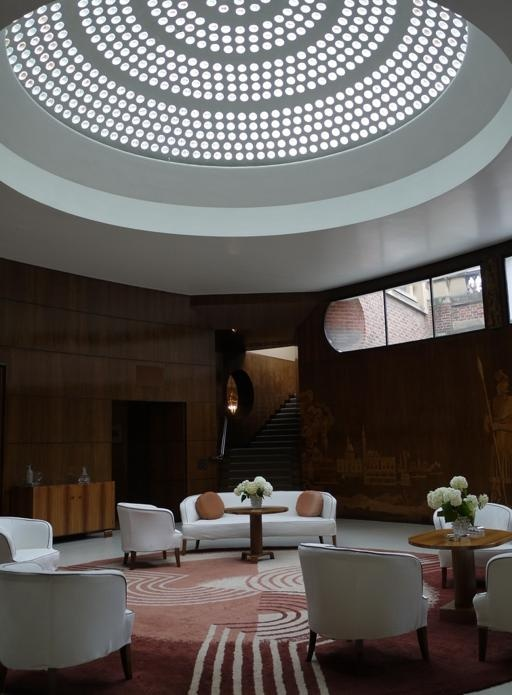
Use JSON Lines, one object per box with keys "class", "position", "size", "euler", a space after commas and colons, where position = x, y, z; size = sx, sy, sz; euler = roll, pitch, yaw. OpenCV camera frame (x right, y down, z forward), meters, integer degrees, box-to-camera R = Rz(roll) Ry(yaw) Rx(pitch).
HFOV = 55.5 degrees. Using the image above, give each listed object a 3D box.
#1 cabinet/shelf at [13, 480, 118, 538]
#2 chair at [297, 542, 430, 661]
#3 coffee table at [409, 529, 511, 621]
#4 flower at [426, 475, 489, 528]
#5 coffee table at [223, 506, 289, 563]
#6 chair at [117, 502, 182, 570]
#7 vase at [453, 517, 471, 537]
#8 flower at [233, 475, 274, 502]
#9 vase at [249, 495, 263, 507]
{"class": "cabinet/shelf", "position": [-3.067, 2.673, 8.410], "size": [1.245, 0.745, 0.402], "euler": [2, -3, -12]}
{"class": "chair", "position": [0.637, 1.252, 2.862], "size": [0.652, 0.790, 0.630], "euler": [-7, -9, 44]}
{"class": "coffee table", "position": [1.516, 1.615, 3.648], "size": [0.627, 0.676, 0.686], "euler": [-4, -1, 23]}
{"class": "flower", "position": [1.635, 1.272, 3.887], "size": [0.352, 0.437, 0.410], "euler": [-7, -15, 22]}
{"class": "coffee table", "position": [0.033, 2.438, 6.401], "size": [0.656, 0.633, 0.752], "euler": [-5, -15, 18]}
{"class": "chair", "position": [-1.343, 2.146, 6.161], "size": [0.717, 0.889, 0.805], "euler": [3, -8, -27]}
{"class": "vase", "position": [1.603, 1.389, 3.776], "size": [0.109, 0.133, 0.123], "euler": [2, -4, 13]}
{"class": "flower", "position": [-0.050, 1.994, 6.871], "size": [0.476, 0.328, 0.642], "euler": [-1, -14, -4]}
{"class": "vase", "position": [0.007, 2.098, 6.655], "size": [0.157, 0.151, 0.196], "euler": [1, -14, -10]}
